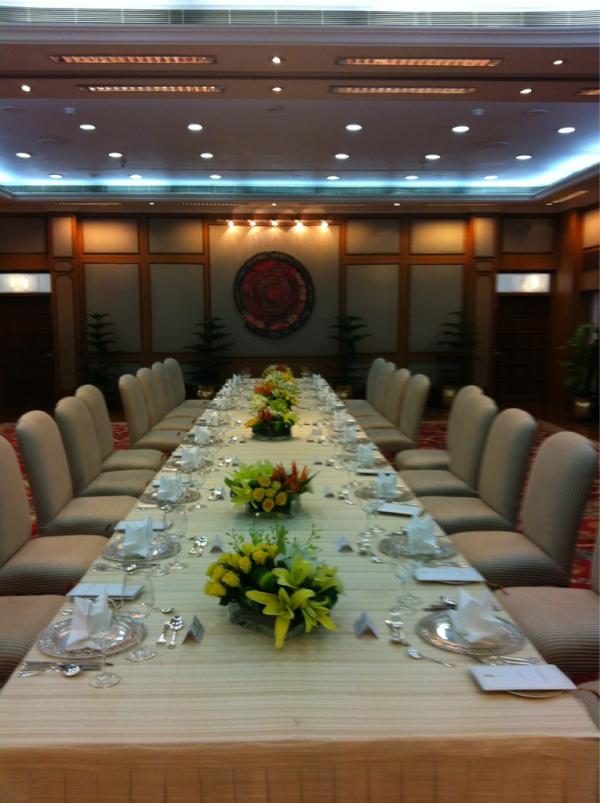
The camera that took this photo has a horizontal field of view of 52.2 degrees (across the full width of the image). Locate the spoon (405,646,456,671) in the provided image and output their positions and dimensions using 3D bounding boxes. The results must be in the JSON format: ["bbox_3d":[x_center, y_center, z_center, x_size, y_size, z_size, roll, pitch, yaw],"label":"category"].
[{"bbox_3d":[0.264,0.516,1.234,0.027,0.018,0.128,11,-2,-27],"label":"spoon"}]

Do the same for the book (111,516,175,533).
[{"bbox_3d":[-0.477,0.378,1.872,0.154,0.022,0.169,1,0,-3],"label":"book"}]

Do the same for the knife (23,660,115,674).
[{"bbox_3d":[-0.449,0.517,1.190,0.143,0.015,0.037,1,2,-2],"label":"knife"}]

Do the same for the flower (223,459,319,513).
[{"bbox_3d":[-0.122,0.277,2.184,0.252,0.128,0.241,0,2,7],"label":"flower"}]

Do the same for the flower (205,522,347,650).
[{"bbox_3d":[-0.048,0.399,1.319,0.246,0.136,0.235,7,22,-20],"label":"flower"}]

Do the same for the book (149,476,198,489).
[{"bbox_3d":[-0.499,0.316,2.417,0.125,0.027,0.111,2,-1,-1],"label":"book"}]
